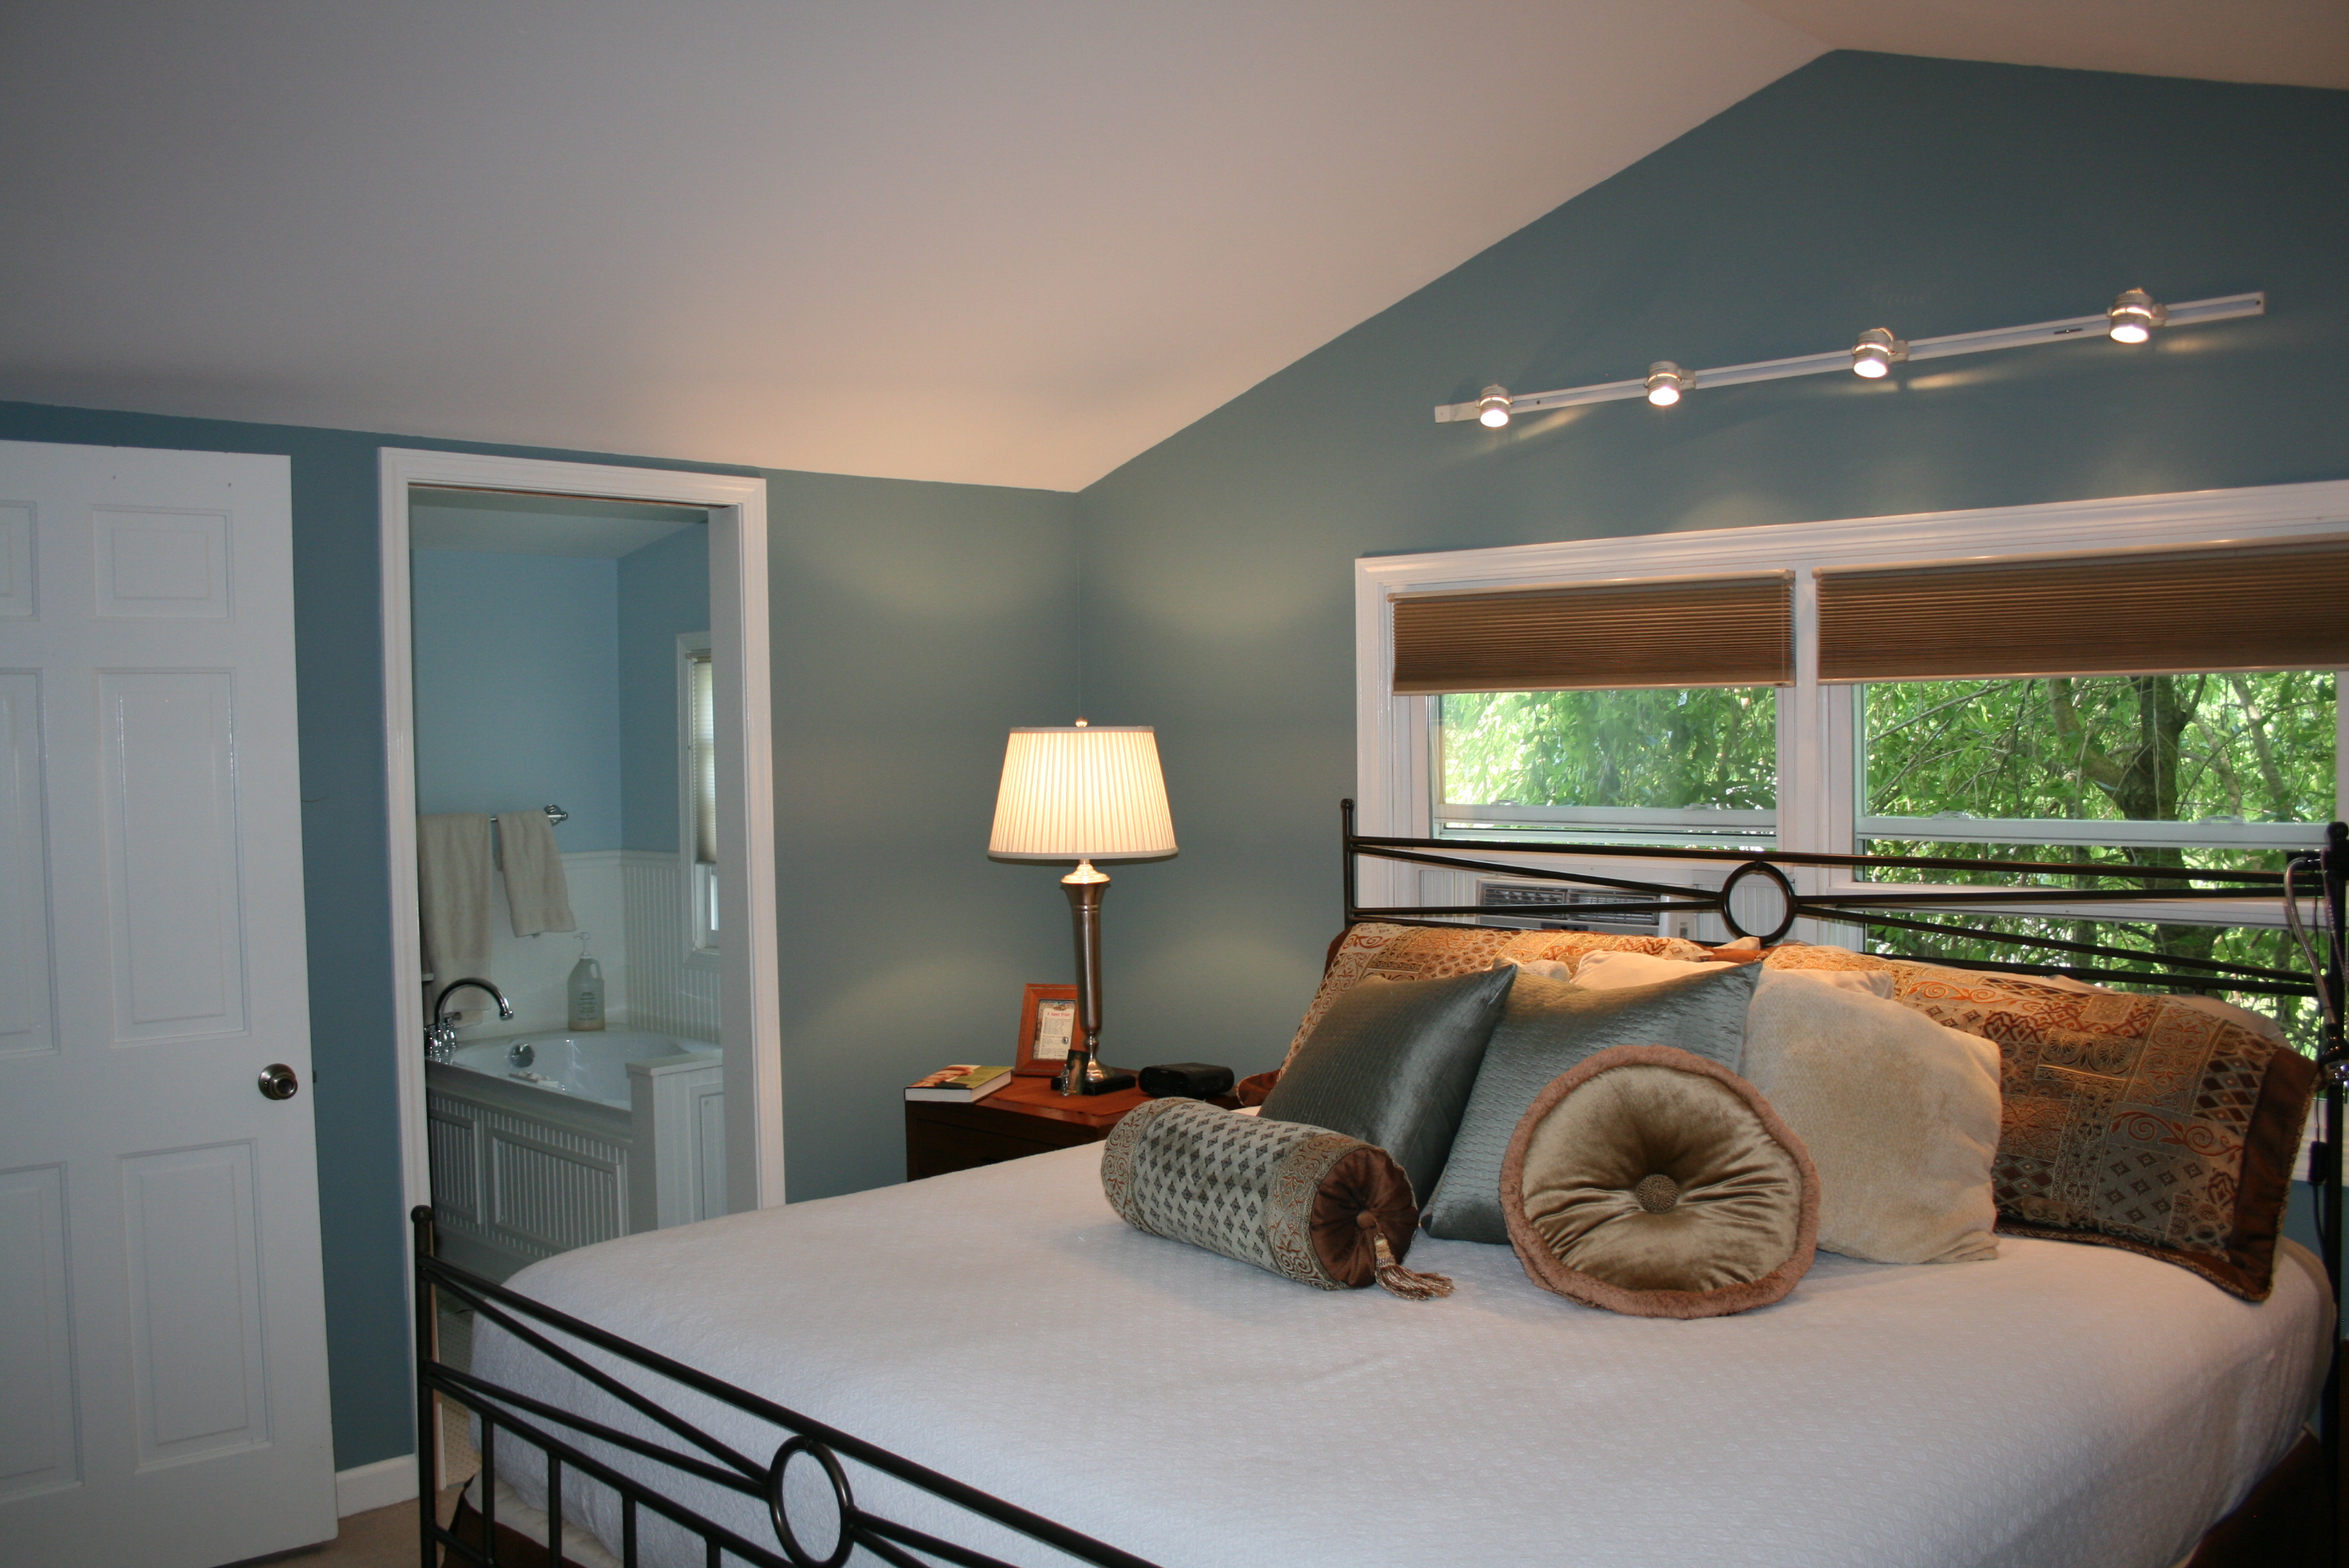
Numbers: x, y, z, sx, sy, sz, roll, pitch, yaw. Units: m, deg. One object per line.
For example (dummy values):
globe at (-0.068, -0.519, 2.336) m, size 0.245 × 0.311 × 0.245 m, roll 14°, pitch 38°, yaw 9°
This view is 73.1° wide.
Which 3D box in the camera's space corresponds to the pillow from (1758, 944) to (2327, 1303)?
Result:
pillow at (1.855, 0.657, 3.086) m, size 0.897 × 0.603 × 0.238 m, roll 12°, pitch -16°, yaw 23°

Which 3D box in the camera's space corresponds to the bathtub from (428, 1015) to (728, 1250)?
bathtub at (-2.023, 1.182, 5.266) m, size 0.521 × 0.440 × 0.929 m, roll -3°, pitch 2°, yaw -42°
